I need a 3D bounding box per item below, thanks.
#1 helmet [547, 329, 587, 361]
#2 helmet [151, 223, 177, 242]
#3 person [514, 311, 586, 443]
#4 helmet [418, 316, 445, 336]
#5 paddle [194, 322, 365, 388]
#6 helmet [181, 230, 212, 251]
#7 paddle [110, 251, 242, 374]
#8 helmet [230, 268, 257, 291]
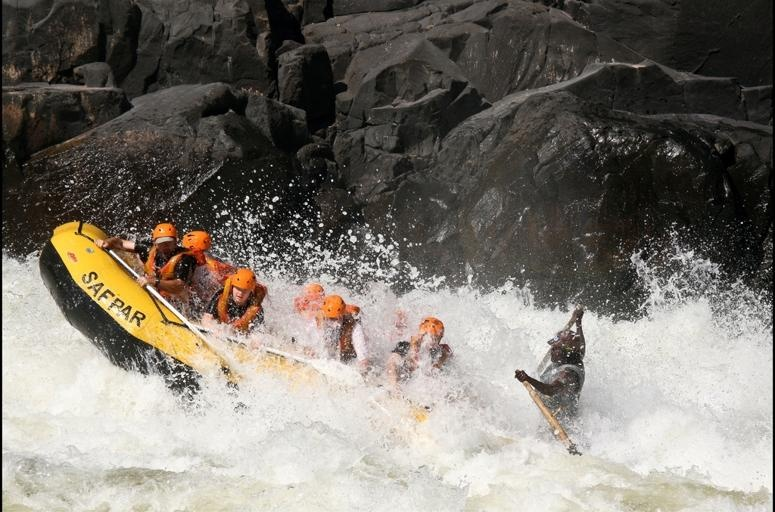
[{"bbox_3d":[2.674,1.342,16.110,0.475,0.531,0.420,27,2,6],"label":"helmet"},{"bbox_3d":[-3.395,-0.344,16.546,0.231,0.366,0.253,0,-6,-7],"label":"helmet"},{"bbox_3d":[2.497,1.932,16.632,0.580,2.223,1.103,17,29,42],"label":"person"},{"bbox_3d":[0.667,1.052,16.202,0.353,0.239,0.294,-10,23,-44],"label":"helmet"},{"bbox_3d":[-1.646,1.511,16.204,1.678,0.270,0.431,18,53,-9],"label":"paddle"},{"bbox_3d":[-2.970,-0.219,16.771,0.365,0.292,0.290,-9,-17,-27],"label":"helmet"},{"bbox_3d":[-3.225,0.910,16.308,2.103,0.299,0.236,49,47,4],"label":"paddle"},{"bbox_3d":[-2.161,0.352,16.312,0.254,0.286,0.362,28,-7,-5],"label":"helmet"}]
